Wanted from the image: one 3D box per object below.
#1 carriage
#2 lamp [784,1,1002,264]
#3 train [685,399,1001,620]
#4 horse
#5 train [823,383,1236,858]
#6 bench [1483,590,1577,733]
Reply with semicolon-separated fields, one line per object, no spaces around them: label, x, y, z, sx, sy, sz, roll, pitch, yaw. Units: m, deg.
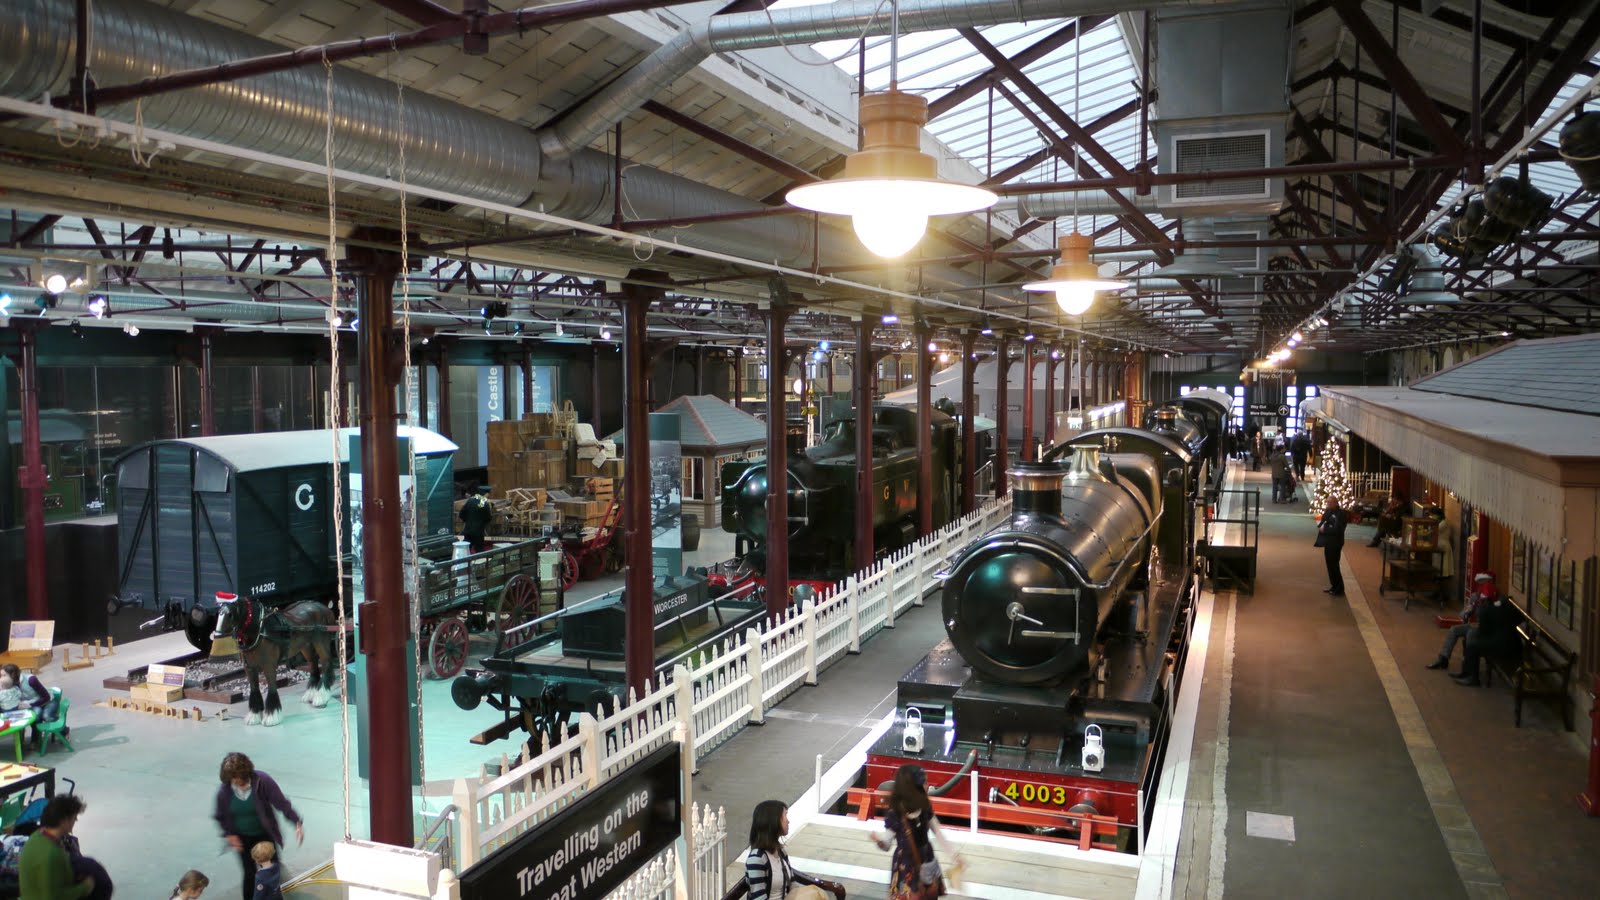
carriage;-9.240;3.729;27.181;4.004;2.720;6.767;-2;-3;11
lamp;1.031;-3.169;12.923;2.020;3.118;2.045;-1;0;-10
train;1.339;1.042;30.710;3.101;3.407;9.620;0;3;23
horse;-10.838;4.213;23.414;2.361;2.549;1.498;-4;5;-42
train;5.500;2.541;23.220;3.594;4.296;13.339;4;10;21
bench;13.807;3.986;21.233;1.676;1.946;2.024;0;1;18
